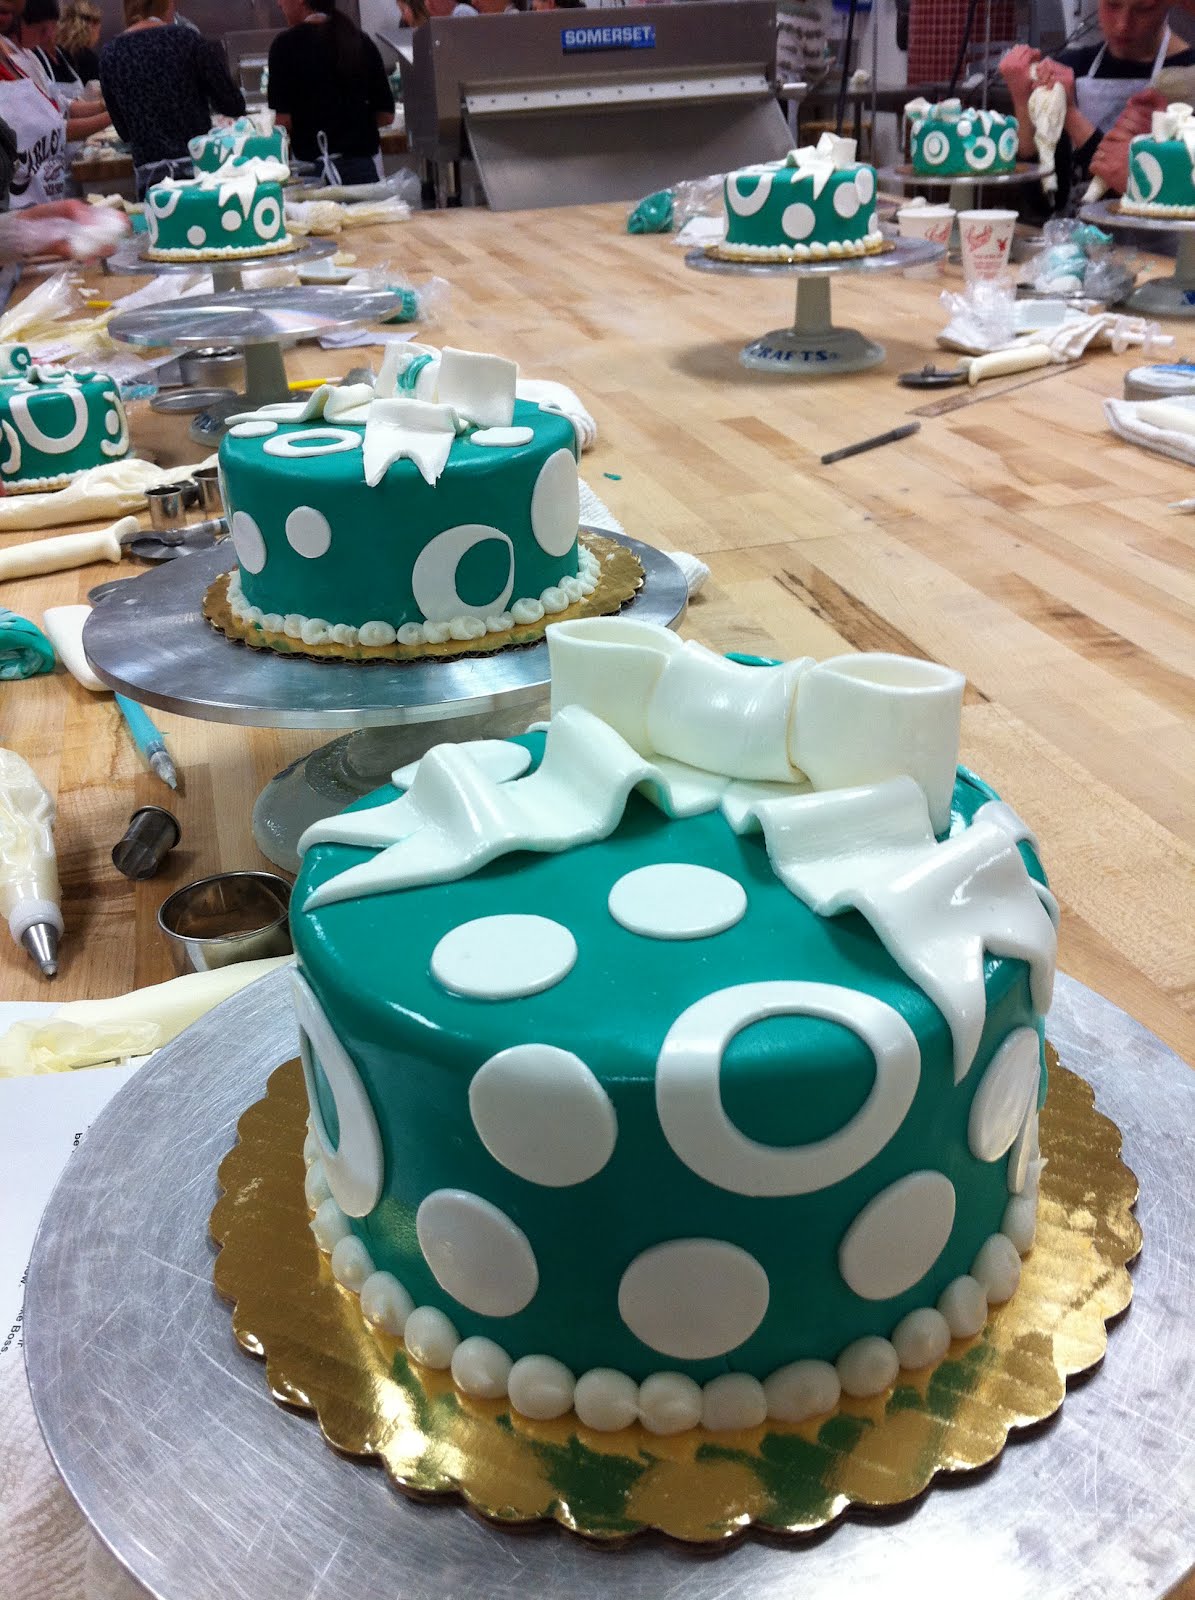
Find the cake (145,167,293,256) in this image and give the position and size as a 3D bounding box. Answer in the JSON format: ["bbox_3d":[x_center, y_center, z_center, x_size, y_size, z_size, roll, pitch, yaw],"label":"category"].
[{"bbox_3d":[-0.817,-1.250,2.778,0.363,0.200,0.228,-12,31,-14],"label":"cake"}]

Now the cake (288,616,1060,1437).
[{"bbox_3d":[0.016,0.069,0.540,0.322,0.245,0.277,4,22,18],"label":"cake"}]
